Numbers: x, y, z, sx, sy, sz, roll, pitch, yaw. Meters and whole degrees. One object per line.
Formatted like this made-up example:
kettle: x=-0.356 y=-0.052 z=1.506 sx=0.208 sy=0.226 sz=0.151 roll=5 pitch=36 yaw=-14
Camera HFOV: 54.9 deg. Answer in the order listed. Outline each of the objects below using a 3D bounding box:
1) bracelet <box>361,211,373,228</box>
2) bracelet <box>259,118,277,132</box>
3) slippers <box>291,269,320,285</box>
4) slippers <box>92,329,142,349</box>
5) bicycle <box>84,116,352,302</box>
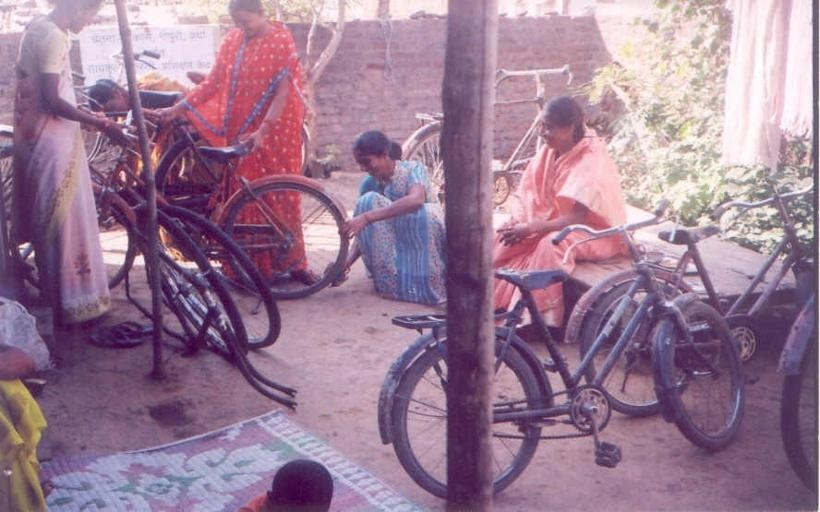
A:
bracelet: x=-0.373 y=-0.323 z=6.766 sx=0.107 sy=0.144 sz=0.053 roll=0 pitch=6 yaw=-5
bracelet: x=-1.207 y=-1.106 z=6.729 sx=0.048 sy=0.136 sz=0.098 roll=19 pitch=21 yaw=-24
slippers: x=-0.924 y=0.191 z=7.140 sx=0.192 sy=0.088 sz=0.141 roll=2 pitch=5 yaw=-43
slippers: x=-2.178 y=0.612 z=5.819 sx=0.229 sy=0.055 sz=0.169 roll=10 pitch=20 yaw=-6
bicycle: x=-1.868 y=-0.411 z=6.843 sx=2.577 sy=1.554 sz=1.103 roll=2 pitch=29 yaw=-2
